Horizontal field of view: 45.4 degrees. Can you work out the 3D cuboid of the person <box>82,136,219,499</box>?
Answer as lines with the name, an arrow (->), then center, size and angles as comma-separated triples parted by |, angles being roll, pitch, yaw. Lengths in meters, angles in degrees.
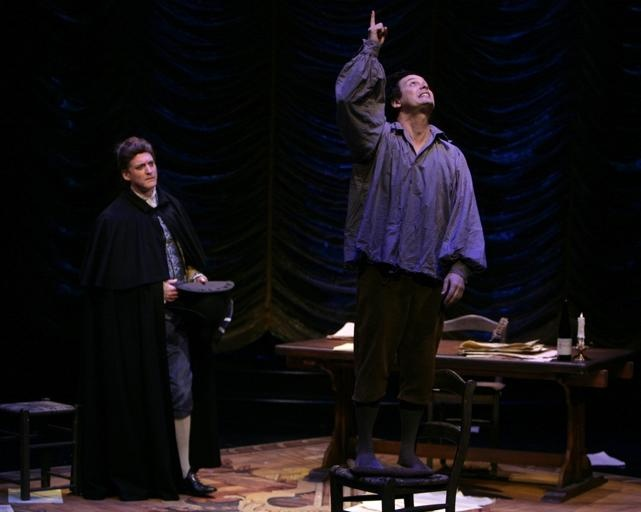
person -> -1.099, 0.358, 4.762 | 0.760, 2.218, 0.301 | 0, -5, -15

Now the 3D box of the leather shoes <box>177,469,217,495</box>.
leather shoes -> -0.772, 1.394, 4.747 | 0.282, 0.120, 0.089 | 2, 2, 18

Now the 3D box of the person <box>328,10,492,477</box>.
person -> 0.386, -0.079, 3.287 | 0.615, 1.949, 0.306 | -1, -5, 0

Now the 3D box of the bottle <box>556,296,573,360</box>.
bottle -> 1.488, 0.458, 4.723 | 0.085, 0.355, 0.340 | -3, -6, 17

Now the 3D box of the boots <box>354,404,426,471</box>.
boots -> 0.250, 0.817, 3.297 | 0.340, 0.291, 0.274 | 6, -21, -13
